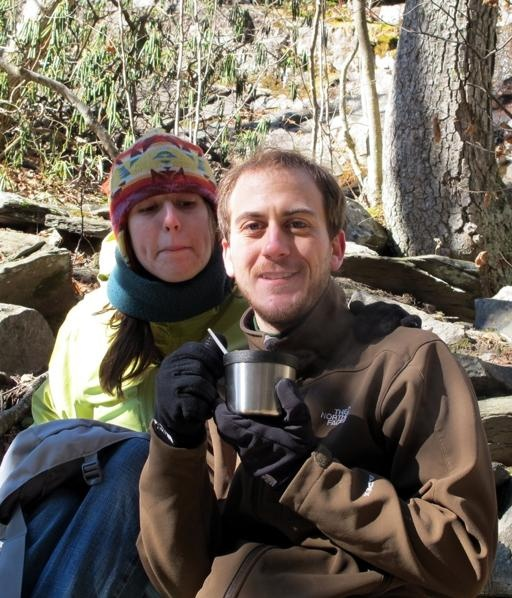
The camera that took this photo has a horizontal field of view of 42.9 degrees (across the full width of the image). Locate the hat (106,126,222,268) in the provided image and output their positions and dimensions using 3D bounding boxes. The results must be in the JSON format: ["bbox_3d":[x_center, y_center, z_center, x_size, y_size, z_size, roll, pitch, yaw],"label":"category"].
[{"bbox_3d":[-0.504,-0.575,3.795,0.609,0.587,0.738,-4,-20,-4],"label":"hat"}]

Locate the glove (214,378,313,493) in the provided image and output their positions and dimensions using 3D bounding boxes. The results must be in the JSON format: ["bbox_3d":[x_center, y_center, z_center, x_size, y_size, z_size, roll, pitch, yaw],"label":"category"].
[{"bbox_3d":[0.031,0.438,2.052,0.404,0.267,0.322,5,39,-18],"label":"glove"}]

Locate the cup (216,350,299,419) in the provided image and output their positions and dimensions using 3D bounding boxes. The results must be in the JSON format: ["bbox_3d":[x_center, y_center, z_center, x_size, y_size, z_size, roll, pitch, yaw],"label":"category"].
[{"bbox_3d":[-0.001,0.272,2.076,0.252,0.153,0.207,9,-21,-14],"label":"cup"}]

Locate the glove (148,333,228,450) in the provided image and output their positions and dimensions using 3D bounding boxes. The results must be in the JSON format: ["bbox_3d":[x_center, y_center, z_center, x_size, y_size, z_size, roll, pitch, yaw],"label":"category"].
[{"bbox_3d":[-0.213,0.310,2.181,0.297,0.331,0.147,14,-9,1],"label":"glove"}]
